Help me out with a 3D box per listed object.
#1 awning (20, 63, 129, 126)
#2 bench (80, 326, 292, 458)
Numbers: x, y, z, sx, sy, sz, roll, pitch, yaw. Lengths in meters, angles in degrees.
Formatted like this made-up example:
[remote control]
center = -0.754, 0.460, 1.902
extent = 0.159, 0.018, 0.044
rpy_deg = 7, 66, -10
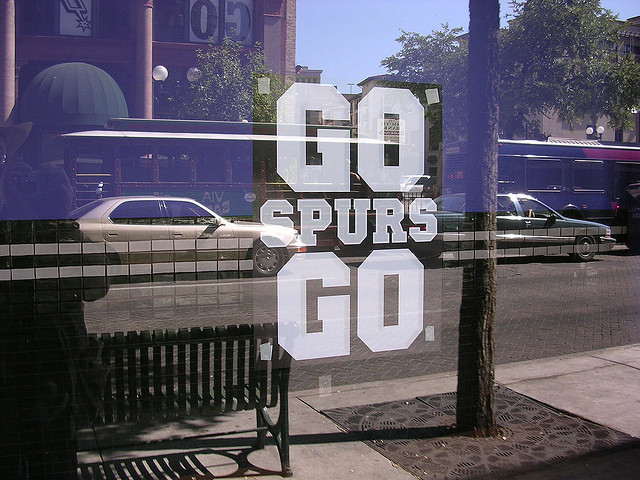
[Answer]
[awning]
center = -2.283, -1.332, 6.051
extent = 0.665, 0.384, 0.659
rpy_deg = -3, 12, -21
[bench]
center = -1.043, 1.175, 4.967
extent = 1.117, 0.649, 0.409
rpy_deg = 0, 4, -20
